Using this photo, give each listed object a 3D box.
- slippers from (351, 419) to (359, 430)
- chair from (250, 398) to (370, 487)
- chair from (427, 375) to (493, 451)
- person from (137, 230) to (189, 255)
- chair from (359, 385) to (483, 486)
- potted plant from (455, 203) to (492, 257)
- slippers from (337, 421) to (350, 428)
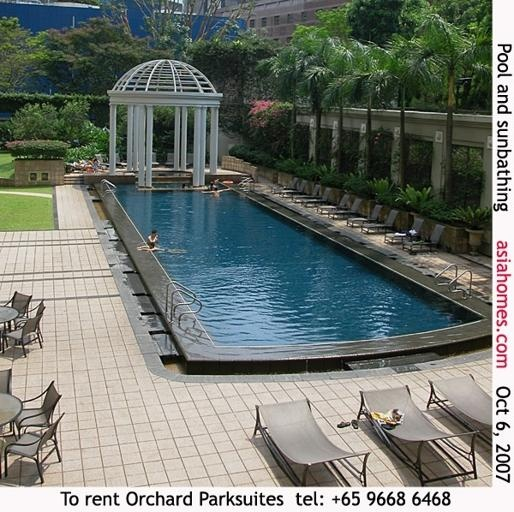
[{"bbox_3d":[1.316,2.329,6.628,0.063,0.051,0.154,-11,19,5],"label":"slippers"},{"bbox_3d":[0.581,2.211,5.717,0.850,0.394,1.348,0,10,-17],"label":"chair"},{"bbox_3d":[3.037,2.139,6.771,0.774,0.366,1.250,-10,11,-14],"label":"chair"},{"bbox_3d":[-3.223,-0.471,16.822,1.831,0.724,1.221,5,11,14],"label":"person"},{"bbox_3d":[1.925,2.213,6.176,0.756,0.401,1.550,-4,11,-12],"label":"chair"},{"bbox_3d":[7.574,-0.847,17.044,1.184,1.459,1.305,3,1,44],"label":"potted plant"},{"bbox_3d":[1.161,2.326,6.578,0.155,0.038,0.088,-5,15,-23],"label":"slippers"}]
